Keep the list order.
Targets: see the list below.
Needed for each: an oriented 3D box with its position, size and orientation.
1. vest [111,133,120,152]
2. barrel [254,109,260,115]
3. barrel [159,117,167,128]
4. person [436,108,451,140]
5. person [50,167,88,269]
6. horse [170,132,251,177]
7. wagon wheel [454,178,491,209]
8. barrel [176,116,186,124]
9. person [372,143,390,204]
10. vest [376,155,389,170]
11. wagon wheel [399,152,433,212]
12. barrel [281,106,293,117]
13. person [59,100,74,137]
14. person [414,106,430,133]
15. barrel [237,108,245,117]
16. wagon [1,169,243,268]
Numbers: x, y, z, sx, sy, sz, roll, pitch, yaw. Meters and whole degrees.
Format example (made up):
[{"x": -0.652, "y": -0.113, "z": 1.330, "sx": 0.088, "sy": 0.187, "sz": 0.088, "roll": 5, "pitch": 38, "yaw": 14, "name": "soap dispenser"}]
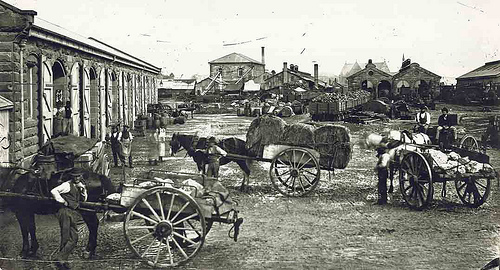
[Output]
[{"x": -6.592, "y": 0.339, "z": 23.652, "sx": 0.442, "sy": 0.926, "sz": 0.196, "roll": 3, "pitch": 3, "yaw": 8, "name": "vest"}, {"x": 0.751, "y": -2.412, "z": 49.897, "sx": 0.871, "sy": 0.781, "sz": 0.434, "roll": 0, "pitch": 0, "yaw": 13, "name": "barrel"}, {"x": -7.020, "y": -1.029, "z": 38.900, "sx": 0.599, "sy": 1.005, "sz": 1.076, "roll": 0, "pitch": 2, "yaw": 14, "name": "barrel"}, {"x": 9.915, "y": -0.568, "z": 24.854, "sx": 0.587, "sy": 1.646, "sz": 1.073, "roll": 4, "pitch": 3, "yaw": 16, "name": "person"}, {"x": -5.902, "y": 2.672, "z": 15.702, "sx": 1.052, "sy": 3.280, "sz": 0.582, "roll": 2, "pitch": 3, "yaw": -18, "name": "person"}, {"x": -1.600, "y": 0.983, "z": 20.951, "sx": 3.918, "sy": 2.140, "sz": 0.904, "roll": 0, "pitch": -4, "yaw": -19, "name": "horse"}, {"x": 8.919, "y": 2.344, "z": 19.011, "sx": 1.375, "sy": 1.307, "sz": 0.292, "roll": -2, "pitch": 1, "yaw": 42, "name": "wagon wheel"}, {"x": -5.955, "y": -1.324, "z": 41.833, "sx": 0.806, "sy": 0.637, "sz": 0.877, "roll": 3, "pitch": 2, "yaw": 0, "name": "barrel"}, {"x": 5.320, "y": 1.533, "z": 19.606, "sx": 0.569, "sy": 2.417, "sz": 1.019, "roll": 4, "pitch": 3, "yaw": 13, "name": "person"}, {"x": 5.230, "y": 1.097, "z": 19.199, "sx": 0.119, "sy": 0.459, "sz": 0.492, "roll": 19, "pitch": -24, "yaw": 7, "name": "vest"}, {"x": 6.380, "y": 1.737, "z": 18.528, "sx": 0.391, "sy": 2.071, "sz": 2.154, "roll": -2, "pitch": 7, "yaw": -25, "name": "wagon wheel"}, {"x": 3.642, "y": -2.371, "z": 48.214, "sx": 1.075, "sy": 1.089, "sz": 0.784, "roll": 3, "pitch": 2, "yaw": 5, "name": "barrel"}, {"x": -8.601, "y": -0.882, "z": 22.720, "sx": 0.568, "sy": 1.527, "sz": 0.812, "roll": 2, "pitch": 3, "yaw": -12, "name": "person"}, {"x": 9.066, "y": -0.839, "z": 25.381, "sx": 0.648, "sy": 1.369, "sz": 0.555, "roll": 4, "pitch": 3, "yaw": 17, "name": "person"}, {"x": -0.964, "y": -2.376, "z": 50.524, "sx": 0.430, "sy": 0.792, "sz": 0.917, "roll": 0, "pitch": 2, "yaw": 21, "name": "barrel"}, {"x": -2.849, "y": 2.676, "z": 16.015, "sx": 4.998, "sy": 2.961, "sz": 2.341, "roll": 3, "pitch": 3, "yaw": 19, "name": "wagon"}]
